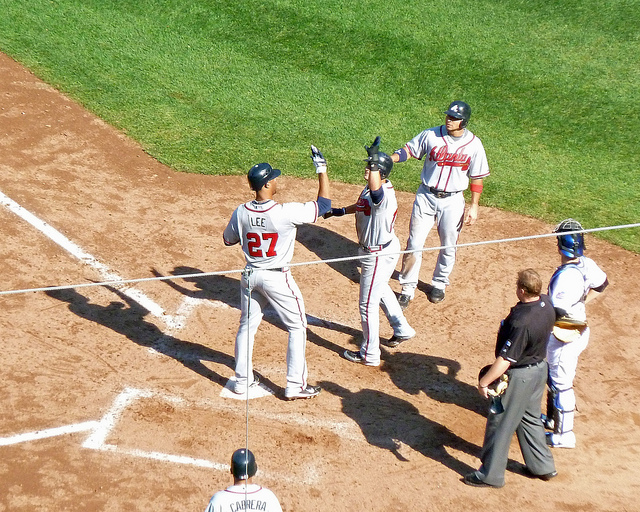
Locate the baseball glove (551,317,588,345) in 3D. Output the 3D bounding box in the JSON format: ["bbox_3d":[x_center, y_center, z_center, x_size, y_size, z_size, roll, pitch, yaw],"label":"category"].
[{"bbox_3d":[2.697,0.805,9.199,0.387,0.277,0.084,-19,19,6],"label":"baseball glove"}]

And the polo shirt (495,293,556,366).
[{"bbox_3d":[2.184,0.806,8.903,0.729,0.511,0.349,-35,49,-30],"label":"polo shirt"}]

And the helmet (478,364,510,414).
[{"bbox_3d":[1.856,1.411,8.873,0.293,0.490,0.360,2,47,-8],"label":"helmet"}]

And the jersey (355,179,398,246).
[{"bbox_3d":[0.668,-0.506,10.052,0.585,0.854,0.717,2,33,1],"label":"jersey"}]

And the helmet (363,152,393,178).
[{"bbox_3d":[0.733,-1.065,9.721,0.173,0.297,0.320,9,29,3],"label":"helmet"}]

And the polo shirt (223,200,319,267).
[{"bbox_3d":[-0.588,-0.243,9.455,1.299,0.688,0.514,-1,20,13],"label":"polo shirt"}]

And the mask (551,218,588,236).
[{"bbox_3d":[2.872,-0.365,9.515,0.324,0.129,0.453,8,8,38],"label":"mask"}]

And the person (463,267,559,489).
[{"bbox_3d":[2.090,1.327,8.882,0.919,2.245,1.023,3,31,-8],"label":"person"}]

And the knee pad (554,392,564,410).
[{"bbox_3d":[2.644,1.638,9.416,0.063,0.146,0.116,1,-9,-20],"label":"knee pad"}]

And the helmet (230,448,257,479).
[{"bbox_3d":[-0.704,1.936,7.897,0.265,0.194,0.259,3,36,2],"label":"helmet"}]

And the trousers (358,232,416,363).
[{"bbox_3d":[0.817,0.550,10.446,1.102,1.810,0.640,-5,43,-1],"label":"trousers"}]

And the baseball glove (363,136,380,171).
[{"bbox_3d":[0.551,-1.186,9.668,0.217,0.349,0.246,2,-12,29],"label":"baseball glove"}]

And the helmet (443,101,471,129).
[{"bbox_3d":[1.765,-1.841,10.862,0.277,0.336,0.357,16,30,15],"label":"helmet"}]

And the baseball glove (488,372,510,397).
[{"bbox_3d":[1.868,1.355,8.878,0.067,0.212,0.234,23,-1,-9],"label":"baseball glove"}]

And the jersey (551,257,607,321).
[{"bbox_3d":[2.957,0.398,9.655,0.725,0.536,0.312,-35,44,-27],"label":"jersey"}]

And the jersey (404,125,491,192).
[{"bbox_3d":[1.691,-1.317,11.122,1.234,0.769,0.437,13,23,10],"label":"jersey"}]

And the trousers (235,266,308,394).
[{"bbox_3d":[-0.510,0.850,9.526,0.871,1.476,0.660,5,31,-5],"label":"trousers"}]

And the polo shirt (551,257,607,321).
[{"bbox_3d":[2.957,0.398,9.655,0.736,0.539,0.286,-34,43,-28],"label":"polo shirt"}]

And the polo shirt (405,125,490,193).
[{"bbox_3d":[1.715,-1.304,11.123,1.264,0.764,0.464,13,26,16],"label":"polo shirt"}]

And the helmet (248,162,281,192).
[{"bbox_3d":[-0.625,-0.875,9.170,0.363,0.194,0.260,-35,37,-14],"label":"helmet"}]

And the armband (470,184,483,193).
[{"bbox_3d":[2.071,-0.915,11.211,0.138,0.076,0.126,3,3,8],"label":"armband"}]

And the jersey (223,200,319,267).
[{"bbox_3d":[-0.573,-0.255,9.445,1.279,0.687,0.506,0,25,17],"label":"jersey"}]

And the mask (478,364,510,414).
[{"bbox_3d":[1.867,1.417,8.891,0.289,0.481,0.358,3,40,-6],"label":"mask"}]

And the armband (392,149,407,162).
[{"bbox_3d":[1.059,-1.352,11.159,0.173,0.154,0.120,-28,-4,17],"label":"armband"}]

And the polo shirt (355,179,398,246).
[{"bbox_3d":[0.668,-0.509,10.051,0.566,0.829,0.710,2,37,1],"label":"polo shirt"}]
